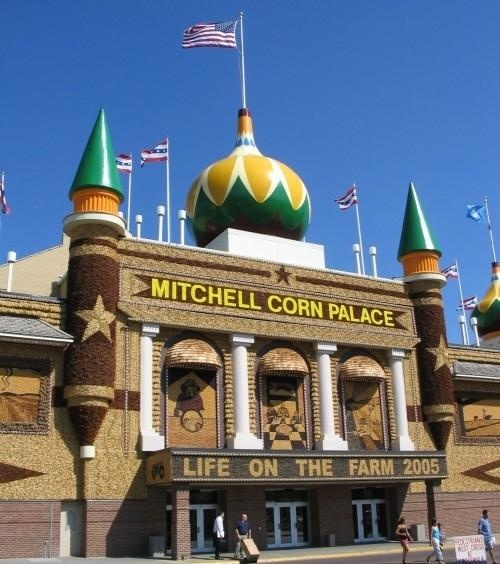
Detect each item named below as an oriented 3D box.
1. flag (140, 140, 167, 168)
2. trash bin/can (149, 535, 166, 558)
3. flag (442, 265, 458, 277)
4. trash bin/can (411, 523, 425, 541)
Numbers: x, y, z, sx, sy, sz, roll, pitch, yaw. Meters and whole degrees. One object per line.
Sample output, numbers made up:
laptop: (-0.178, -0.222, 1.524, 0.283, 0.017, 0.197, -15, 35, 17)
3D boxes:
flag: (-4.202, -5.995, 40.848, 1.065, 1.155, 1.537, 0, -19, -7)
trash bin/can: (-3.313, 9.484, 33.032, 0.521, 0.719, 0.391, 9, -31, -23)
flag: (10.382, -0.498, 48.008, 0.775, 0.748, 0.055, 2, -30, -15)
trash bin/can: (7.073, 10.591, 39.082, 0.340, 0.646, 0.467, 19, -27, -33)
